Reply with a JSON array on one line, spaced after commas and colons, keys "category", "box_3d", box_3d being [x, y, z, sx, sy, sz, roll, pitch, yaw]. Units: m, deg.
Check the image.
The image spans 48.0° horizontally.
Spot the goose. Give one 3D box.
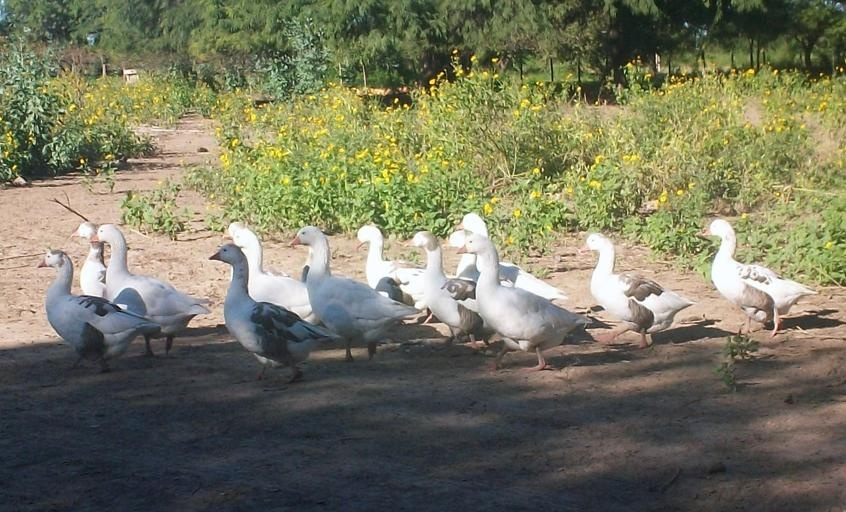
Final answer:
[{"category": "goose", "box_3d": [3.422, 0.537, 15.765, 2.649, 1.806, 1.075, 6, 5, 9]}]
